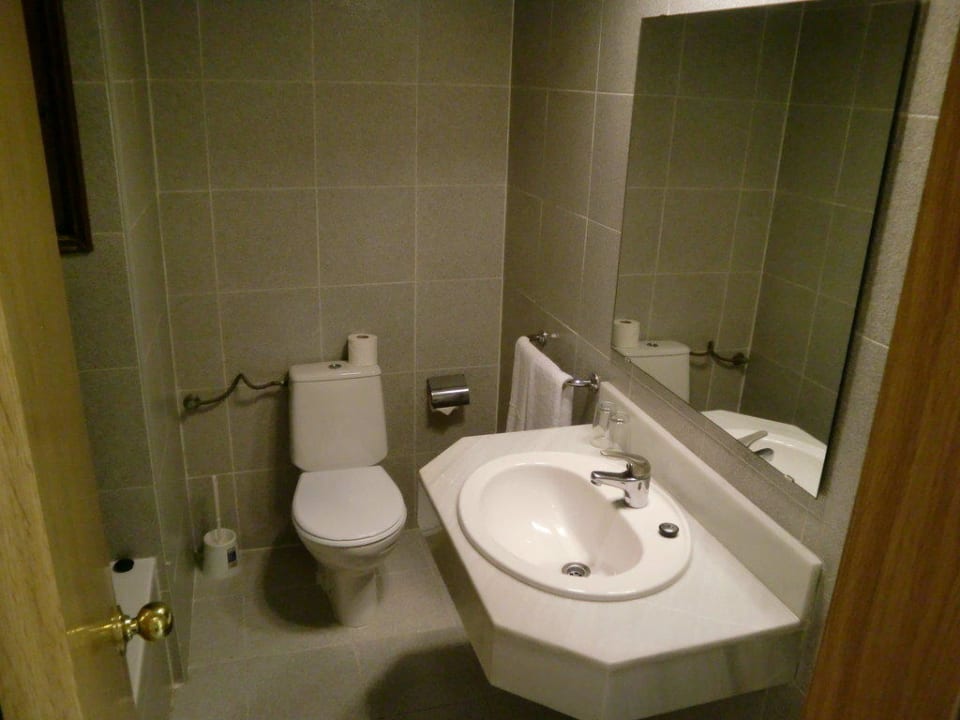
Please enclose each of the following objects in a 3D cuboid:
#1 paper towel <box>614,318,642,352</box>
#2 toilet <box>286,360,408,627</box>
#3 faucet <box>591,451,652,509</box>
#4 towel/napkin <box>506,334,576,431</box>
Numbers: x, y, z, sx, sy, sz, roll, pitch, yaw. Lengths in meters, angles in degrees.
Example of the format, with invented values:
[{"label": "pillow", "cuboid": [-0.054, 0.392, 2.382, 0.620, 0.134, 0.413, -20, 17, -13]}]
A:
[{"label": "paper towel", "cuboid": [0.419, -0.070, 2.218, 0.063, 0.086, 0.086, -2, 13, -6]}, {"label": "toilet", "cuboid": [-0.518, 0.531, 2.942, 0.402, 0.859, 0.752, -5, 21, -18]}, {"label": "faucet", "cuboid": [0.357, 0.304, 1.924, 0.168, 0.140, 0.077, -2, 16, -17]}, {"label": "towel/napkin", "cuboid": [0.217, 0.078, 2.637, 0.076, 0.265, 0.267, -4, 22, -15]}]
